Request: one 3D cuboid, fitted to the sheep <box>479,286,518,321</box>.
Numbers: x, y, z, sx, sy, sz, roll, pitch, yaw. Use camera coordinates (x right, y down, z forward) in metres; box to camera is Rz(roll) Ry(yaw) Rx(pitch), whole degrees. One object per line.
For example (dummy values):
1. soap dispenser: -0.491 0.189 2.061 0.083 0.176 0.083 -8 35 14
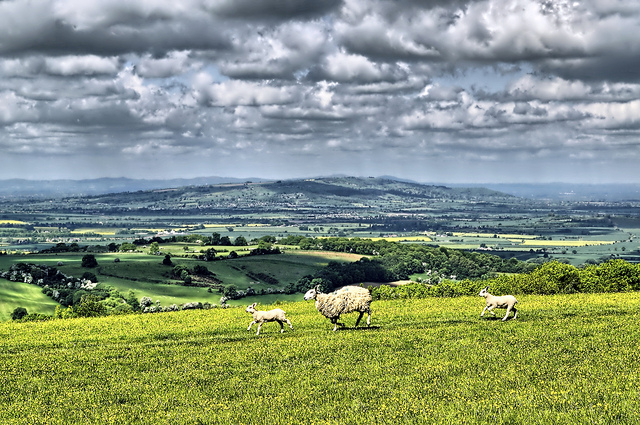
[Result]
1. sheep: 13.900 7.108 47.532 2.636 2.331 2.776 -1 -2 16
